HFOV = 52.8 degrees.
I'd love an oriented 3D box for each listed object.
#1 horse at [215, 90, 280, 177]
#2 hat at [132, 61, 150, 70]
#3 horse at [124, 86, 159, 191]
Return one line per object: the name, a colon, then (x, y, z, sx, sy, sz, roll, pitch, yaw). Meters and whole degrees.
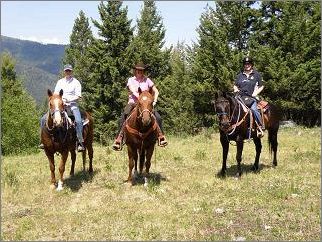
horse: (3.964, 0.569, 14.542, 4.964, 3.781, 1.225, -1, 4, -42)
hat: (-0.826, -2.231, 12.999, 0.433, 0.333, 0.657, -3, 6, -11)
horse: (-0.775, 0.711, 12.788, 1.219, 3.816, 2.615, -2, 5, -13)
